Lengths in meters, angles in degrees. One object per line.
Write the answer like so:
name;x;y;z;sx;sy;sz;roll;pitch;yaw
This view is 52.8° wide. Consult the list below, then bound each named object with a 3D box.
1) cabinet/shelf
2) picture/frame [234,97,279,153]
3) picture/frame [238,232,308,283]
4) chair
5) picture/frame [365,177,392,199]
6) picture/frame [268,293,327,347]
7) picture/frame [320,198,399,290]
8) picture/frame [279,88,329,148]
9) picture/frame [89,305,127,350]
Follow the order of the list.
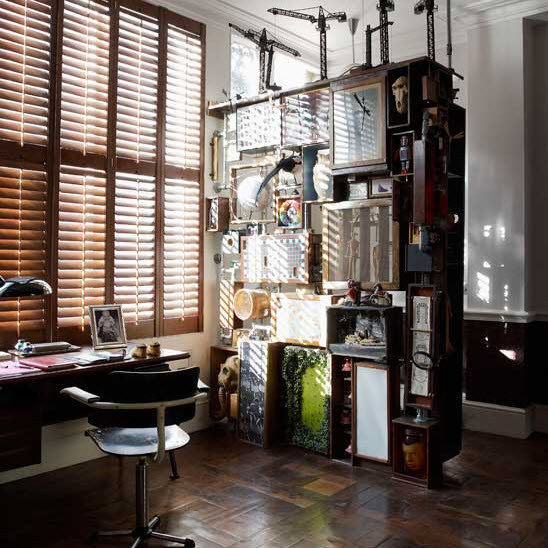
cabinet/shelf;0.709;-0.068;3.860;1.050;2.720;0.677;1;2;34
picture/frame;-0.135;-1.158;4.318;0.082;0.368;0.341;0;5;-44
picture/frame;-0.020;-0.142;4.402;0.527;0.397;0.212;-1;10;7
chair;-0.796;1.019;3.032;0.748;1.151;0.568;1;1;-37
picture/frame;0.725;-0.596;3.804;0.017;0.155;0.154;7;-4;-44
picture/frame;0.190;0.352;4.183;0.347;0.344;0.126;-1;-3;39
picture/frame;0.616;-0.218;3.848;0.549;0.711;0.047;1;2;41
picture/frame;0.228;-1.155;4.119;0.369;0.389;0.020;-6;16;-13
picture/frame;-1.119;0.344;3.706;0.209;0.337;0.036;-3;26;-11
